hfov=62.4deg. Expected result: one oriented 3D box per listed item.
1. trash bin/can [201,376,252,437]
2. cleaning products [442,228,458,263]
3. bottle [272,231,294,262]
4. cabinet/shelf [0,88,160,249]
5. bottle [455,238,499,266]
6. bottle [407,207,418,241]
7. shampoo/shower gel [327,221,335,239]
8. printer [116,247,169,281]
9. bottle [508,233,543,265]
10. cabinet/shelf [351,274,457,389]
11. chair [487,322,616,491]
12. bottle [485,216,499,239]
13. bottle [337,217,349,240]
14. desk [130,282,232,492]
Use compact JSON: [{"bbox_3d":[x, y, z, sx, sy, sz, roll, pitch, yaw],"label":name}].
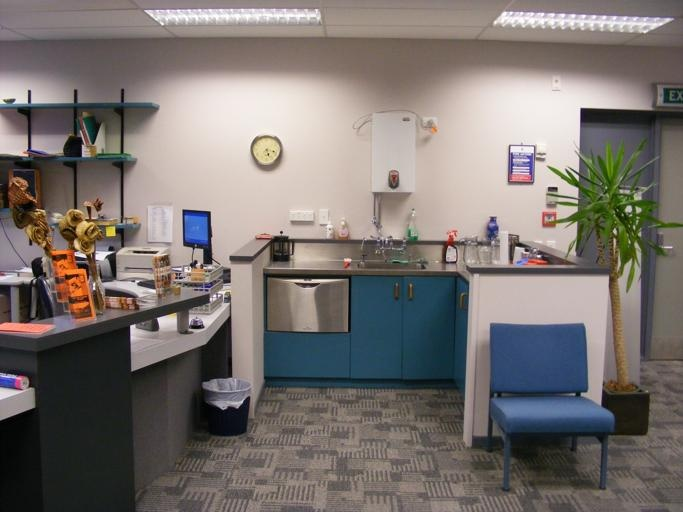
[{"bbox_3d":[-0.864,1.121,4.250,0.343,0.341,0.384,1,-4,-24],"label":"trash bin/can"},{"bbox_3d":[1.036,-0.095,5.365,0.148,0.308,0.247,1,6,6],"label":"cleaning products"},{"bbox_3d":[-0.549,-0.094,5.308,0.198,0.256,0.350,1,6,1],"label":"bottle"},{"bbox_3d":[-2.336,-0.876,5.114,1.515,1.702,0.397,0,3,-3],"label":"cabinet/shelf"},{"bbox_3d":[1.262,-0.047,5.173,0.357,0.221,0.651,1,6,7],"label":"bottle"},{"bbox_3d":[0.675,-0.306,5.421,0.103,0.310,0.094,0,6,0],"label":"bottle"},{"bbox_3d":[-0.109,-0.248,5.433,0.073,0.157,0.070,0,6,-6],"label":"shampoo/shower gel"},{"bbox_3d":[-1.651,0.071,4.650,0.269,0.214,0.149,0,2,0],"label":"printer"},{"bbox_3d":[1.530,-0.064,4.798,0.320,0.339,0.183,1,4,17],"label":"bottle"},{"bbox_3d":[0.494,0.611,5.191,1.318,1.309,0.737,0,1,2],"label":"cabinet/shelf"},{"bbox_3d":[1.358,0.965,3.750,0.740,1.012,0.493,1,6,0],"label":"chair"},{"bbox_3d":[1.455,-0.265,5.419,0.122,0.237,0.153,2,6,9],"label":"bottle"},{"bbox_3d":[0.024,-0.265,5.434,0.111,0.202,0.082,0,6,-1],"label":"bottle"},{"bbox_3d":[-1.116,0.933,3.869,0.480,1.038,1.159,2,6,13],"label":"desk"}]
